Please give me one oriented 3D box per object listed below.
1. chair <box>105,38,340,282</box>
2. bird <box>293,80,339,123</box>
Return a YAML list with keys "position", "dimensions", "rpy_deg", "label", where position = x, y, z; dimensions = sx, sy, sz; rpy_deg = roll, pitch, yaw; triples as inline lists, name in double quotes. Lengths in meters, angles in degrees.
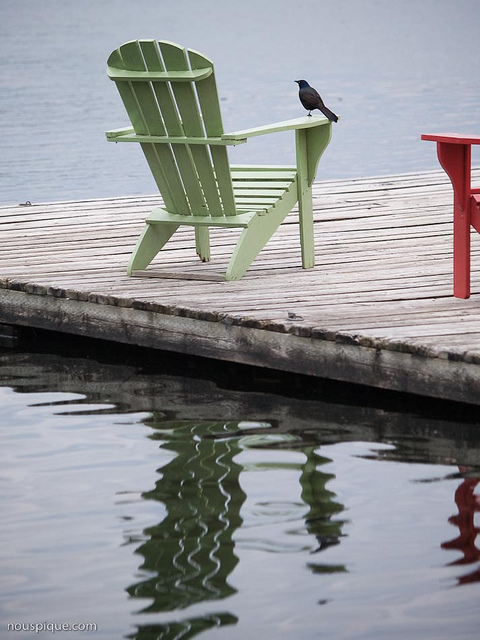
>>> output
- position: [-0.130, -0.643, 4.911]
  dimensions: [0.819, 0.827, 0.969]
  rpy_deg: [2, 6, 32]
  label: "chair"
- position: [0.327, -0.968, 5.017]
  dimensions: [0.087, 0.146, 0.280]
  rpy_deg: [-22, 35, -27]
  label: "bird"
